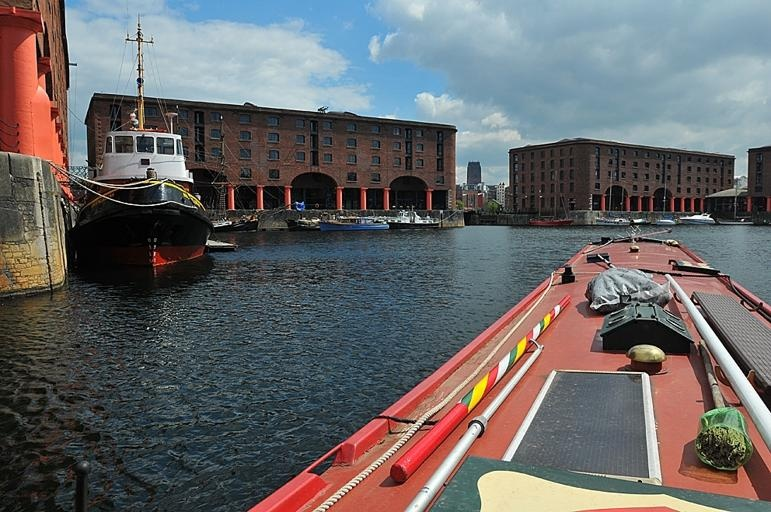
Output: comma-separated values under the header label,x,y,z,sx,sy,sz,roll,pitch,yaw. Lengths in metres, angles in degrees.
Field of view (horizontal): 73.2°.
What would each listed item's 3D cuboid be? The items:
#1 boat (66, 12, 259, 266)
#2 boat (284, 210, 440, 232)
label,x,y,z,sx,sy,sz,roll,pitch,yaw
boat,-12.188,-5.461,25.455,6.116,12.592,13.217,-6,11,-25
boat,-2.404,-4.658,72.729,8.531,2.696,20.508,7,11,40
